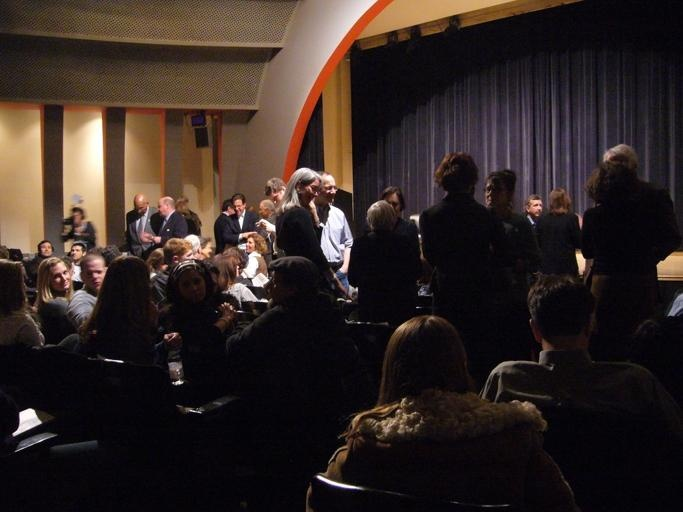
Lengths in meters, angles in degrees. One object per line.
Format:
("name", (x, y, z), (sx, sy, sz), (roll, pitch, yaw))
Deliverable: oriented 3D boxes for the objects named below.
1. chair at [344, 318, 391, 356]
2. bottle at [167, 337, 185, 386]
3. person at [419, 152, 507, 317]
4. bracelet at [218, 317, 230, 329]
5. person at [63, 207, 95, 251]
("chair", (0.155, 0.429, 3.406), (0.191, 0.253, 0.185), (-1, 2, -8))
("bottle", (-0.833, 0.529, 3.096), (0.045, 0.199, 0.136), (2, 3, -19))
("person", (0.654, -0.102, 3.349), (0.454, 0.895, 0.204), (0, 5, 9))
("bracelet", (-0.596, 0.333, 3.138), (0.044, 0.049, 0.046), (-4, 24, -20))
("person", (-3.273, -0.365, 7.674), (0.370, 0.511, 1.073), (-3, 5, -24))
